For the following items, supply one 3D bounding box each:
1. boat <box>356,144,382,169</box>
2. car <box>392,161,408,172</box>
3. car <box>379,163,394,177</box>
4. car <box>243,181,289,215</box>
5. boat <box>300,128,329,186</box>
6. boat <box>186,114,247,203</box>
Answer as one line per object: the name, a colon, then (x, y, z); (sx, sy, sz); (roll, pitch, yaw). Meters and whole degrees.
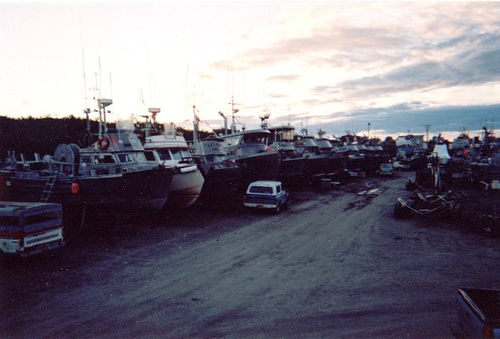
boat: (14.059, -1.394, 56.192); (2.425, 1.944, 2.747); (17, 7, 5)
car: (18.505, -0.425, 59.487); (1.607, 0.803, 1.024); (-1, 15, 17)
car: (14.204, 0.140, 50.229); (0.941, 0.821, 1.556); (0, 15, 23)
car: (1.219, 1.651, 31.336); (2.201, 1.775, 3.849); (4, 7, 20)
boat: (6.534, -1.693, 45.323); (2.264, 3.317, 6.738); (2, 21, 0)
boat: (-3.231, 0.015, 34.996); (3.376, 4.785, 7.899); (-2, 0, 2)
